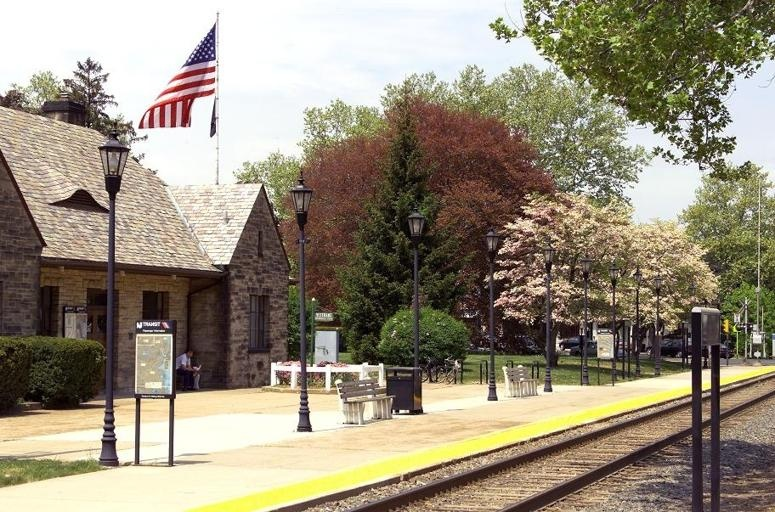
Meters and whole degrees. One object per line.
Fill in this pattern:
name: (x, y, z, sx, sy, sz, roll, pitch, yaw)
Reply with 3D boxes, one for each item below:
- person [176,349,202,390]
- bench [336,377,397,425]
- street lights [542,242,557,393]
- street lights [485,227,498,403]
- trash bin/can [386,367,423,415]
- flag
person: (-7.916, 4.473, 42.286, 0.812, 1.649, 1.383, -1, -10, -5)
bench: (-0.637, 4.499, 32.969, 1.205, 1.496, 2.665, -5, -11, 18)
street lights: (6.637, 2.494, 43.675, 0.951, 6.697, 0.890, -9, 12, -44)
street lights: (3.969, 2.047, 40.143, 0.782, 6.541, 0.832, 0, 1, -22)
trash bin/can: (0.551, 4.405, 34.775, 1.256, 1.922, 1.361, -2, -11, 12)
flag: (-8.469, -7.529, 43.540, 2.868, 3.953, 0.281, 3, 3, 2)
